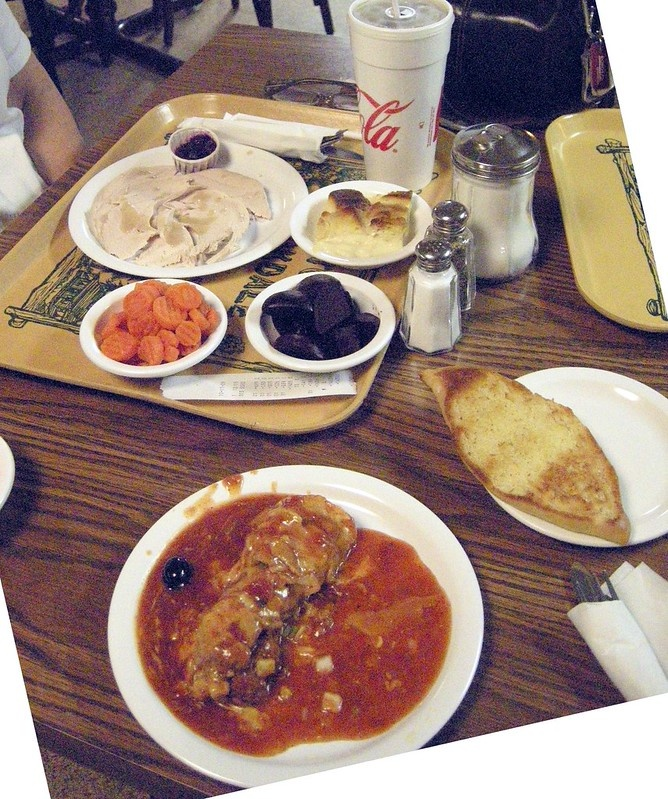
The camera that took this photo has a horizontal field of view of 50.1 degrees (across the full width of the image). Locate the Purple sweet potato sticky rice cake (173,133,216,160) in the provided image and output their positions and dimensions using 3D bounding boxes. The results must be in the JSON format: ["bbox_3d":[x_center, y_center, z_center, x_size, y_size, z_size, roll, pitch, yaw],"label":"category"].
[{"bbox_3d":[-0.297,-0.549,1.554,0.081,0.027,0.072,-27,62,-6],"label":"Purple sweet potato sticky rice cake"}]

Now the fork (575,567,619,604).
[{"bbox_3d":[0.288,0.211,0.801,0.029,0.012,0.048,-19,39,-1],"label":"fork"}]

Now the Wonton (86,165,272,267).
[{"bbox_3d":[-0.298,-0.357,1.381,0.262,0.038,0.258,33,51,30],"label":"Wonton"}]

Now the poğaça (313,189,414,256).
[{"bbox_3d":[0.050,-0.304,1.232,0.137,0.045,0.138,7,52,17],"label":"poğaça"}]

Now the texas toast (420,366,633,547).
[{"bbox_3d":[0.246,0.058,0.927,0.156,0.044,0.348,-16,51,-13],"label":"texas toast"}]

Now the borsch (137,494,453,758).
[{"bbox_3d":[-0.041,0.253,0.806,0.387,0.044,0.373,10,42,21],"label":"borsch"}]
